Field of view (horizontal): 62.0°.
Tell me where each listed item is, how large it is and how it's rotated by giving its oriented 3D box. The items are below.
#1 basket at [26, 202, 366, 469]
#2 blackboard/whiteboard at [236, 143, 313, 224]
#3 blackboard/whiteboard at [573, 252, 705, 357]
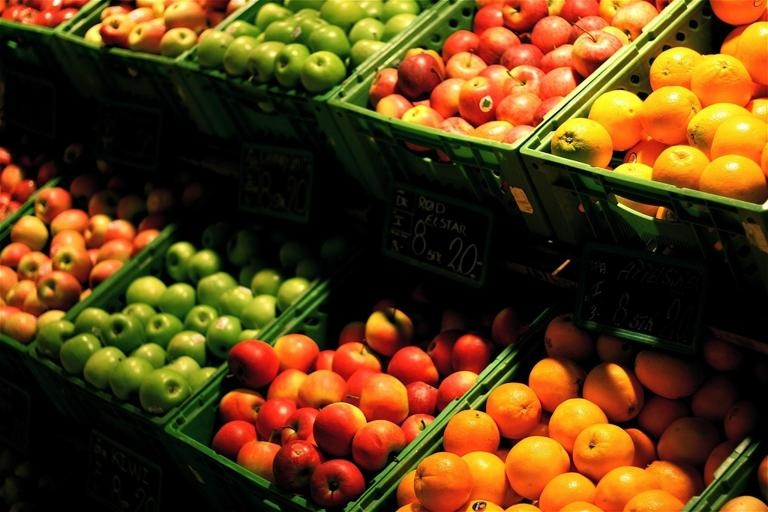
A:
[{"bbox_3d":[-1.008,0.555,3.886,1.095,1.781,0.555,33,-15,33],"label":"basket"},{"bbox_3d":[-0.625,-0.424,3.643,0.472,0.382,0.046,4,-2,-43],"label":"blackboard/whiteboard"},{"bbox_3d":[1.040,0.183,2.560,0.339,0.284,0.050,16,11,29],"label":"blackboard/whiteboard"}]
